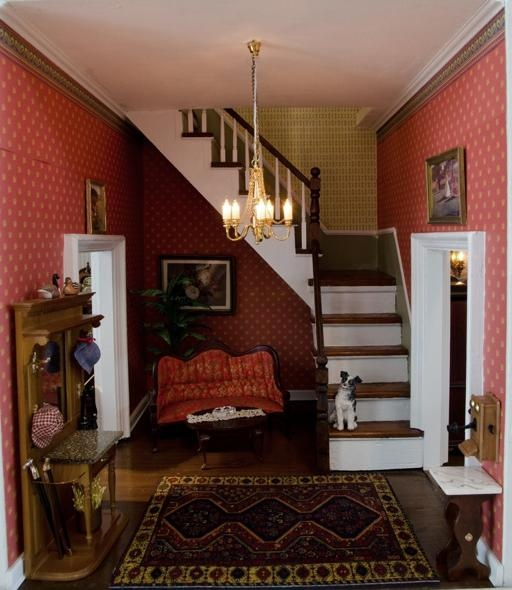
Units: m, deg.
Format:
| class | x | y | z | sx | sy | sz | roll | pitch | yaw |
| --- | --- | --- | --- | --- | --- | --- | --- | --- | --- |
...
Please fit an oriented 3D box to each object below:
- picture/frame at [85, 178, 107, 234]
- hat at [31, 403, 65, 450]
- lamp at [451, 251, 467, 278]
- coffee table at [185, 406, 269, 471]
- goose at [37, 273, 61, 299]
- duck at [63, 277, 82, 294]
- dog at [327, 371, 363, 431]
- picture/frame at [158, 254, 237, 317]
| class | x | y | z | sx | sy | sz | roll | pitch | yaw |
| --- | --- | --- | --- | --- | --- | --- | --- | --- | --- |
| picture/frame | -1.386 | -0.768 | 4.405 | 0.040 | 0.486 | 0.556 | -7 | 18 | -32 |
| hat | -1.289 | 0.807 | 2.999 | 0.163 | 0.275 | 0.252 | -3 | 4 | -40 |
| lamp | 2.109 | -0.325 | 5.143 | 0.181 | 0.246 | 0.097 | -1 | -1 | 35 |
| coffee table | -0.262 | 1.360 | 4.756 | 0.779 | 0.458 | 0.543 | -1 | 3 | -9 |
| goose | -1.317 | -0.044 | 3.155 | 0.085 | 0.165 | 0.234 | 5 | 10 | 19 |
| duck | -1.242 | -0.053 | 3.382 | 0.120 | 0.115 | 0.087 | 1 | 1 | -45 |
| dog | 0.813 | 0.944 | 4.562 | 0.273 | 0.519 | 0.370 | 0 | 3 | 8 |
| picture/frame | -0.761 | -0.149 | 6.309 | 0.792 | 0.657 | 0.055 | 0 | 4 | 0 |
